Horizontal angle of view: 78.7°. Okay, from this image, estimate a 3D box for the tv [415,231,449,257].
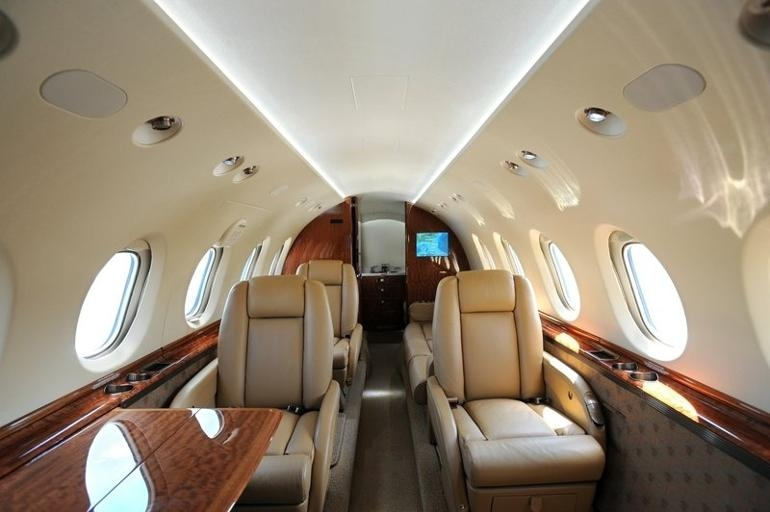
[{"bbox_3d":[0.865,-0.216,8.596,0.597,0.452,0.073,-2,-6,-10],"label":"tv"}]

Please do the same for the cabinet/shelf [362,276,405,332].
[{"bbox_3d":[-0.043,0.919,9.633,1.253,1.305,0.945,-1,-5,-1],"label":"cabinet/shelf"}]
